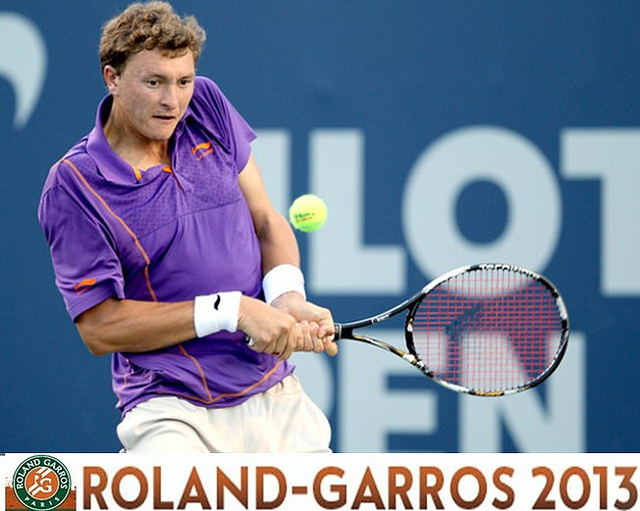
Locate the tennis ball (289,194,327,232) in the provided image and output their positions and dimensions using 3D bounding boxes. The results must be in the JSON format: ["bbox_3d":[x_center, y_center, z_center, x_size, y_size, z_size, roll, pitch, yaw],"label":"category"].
[{"bbox_3d":[-0.065,-0.223,5.631,0.169,0.209,0.183,-1,0,0],"label":"tennis ball"}]
